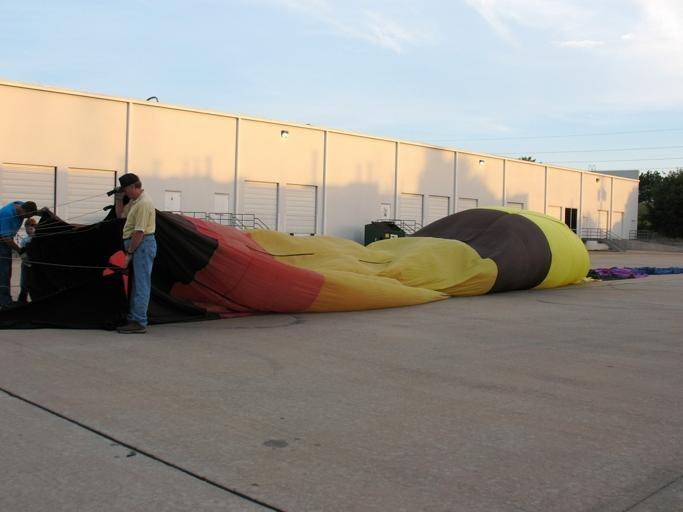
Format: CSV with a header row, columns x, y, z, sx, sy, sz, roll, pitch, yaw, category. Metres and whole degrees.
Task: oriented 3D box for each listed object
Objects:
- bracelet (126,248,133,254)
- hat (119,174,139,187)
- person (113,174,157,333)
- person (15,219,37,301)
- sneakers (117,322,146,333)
x,y,z,sx,sy,sz,roll,pitch,yaw,category
-2.544,-0.052,7.660,0.080,0.059,0.101,0,0,-3,bracelet
-2.634,-0.913,7.777,0.223,0.111,0.158,6,17,36,hat
-2.501,-0.039,7.737,0.466,1.873,0.608,-2,10,-17,person
-4.557,0.105,9.187,0.329,1.310,1.479,-4,10,-27,person
-2.516,0.866,7.584,0.286,0.128,0.128,6,-5,-13,sneakers
